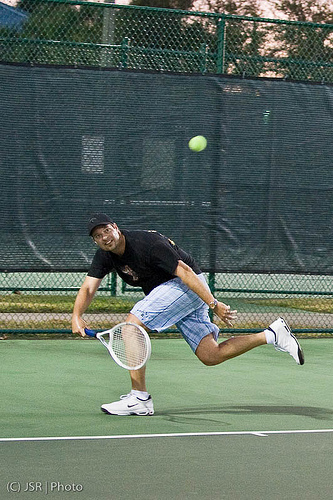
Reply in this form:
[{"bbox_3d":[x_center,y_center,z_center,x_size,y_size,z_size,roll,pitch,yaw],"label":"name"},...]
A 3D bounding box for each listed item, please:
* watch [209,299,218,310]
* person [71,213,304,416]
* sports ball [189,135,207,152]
[{"bbox_3d":[0.222,0.255,2.315,0.018,0.040,0.038,22,-8,-2],"label":"watch"},{"bbox_3d":[0.114,0.315,2.542,1.360,0.943,0.522,2,-13,-19],"label":"person"},{"bbox_3d":[0.300,-0.990,4.637,0.172,0.150,0.090,4,14,-4],"label":"sports ball"}]
